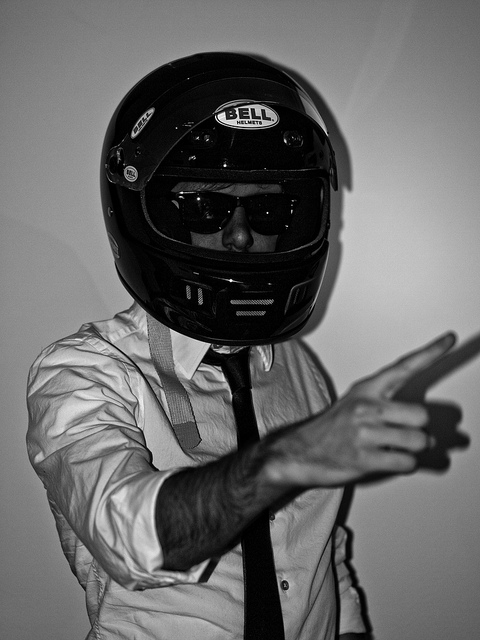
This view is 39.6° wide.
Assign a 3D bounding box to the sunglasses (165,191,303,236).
[{"bbox_3d":[0.005,-0.183,1.024,0.178,0.078,0.088,-7,23,-29],"label":"sunglasses"}]
